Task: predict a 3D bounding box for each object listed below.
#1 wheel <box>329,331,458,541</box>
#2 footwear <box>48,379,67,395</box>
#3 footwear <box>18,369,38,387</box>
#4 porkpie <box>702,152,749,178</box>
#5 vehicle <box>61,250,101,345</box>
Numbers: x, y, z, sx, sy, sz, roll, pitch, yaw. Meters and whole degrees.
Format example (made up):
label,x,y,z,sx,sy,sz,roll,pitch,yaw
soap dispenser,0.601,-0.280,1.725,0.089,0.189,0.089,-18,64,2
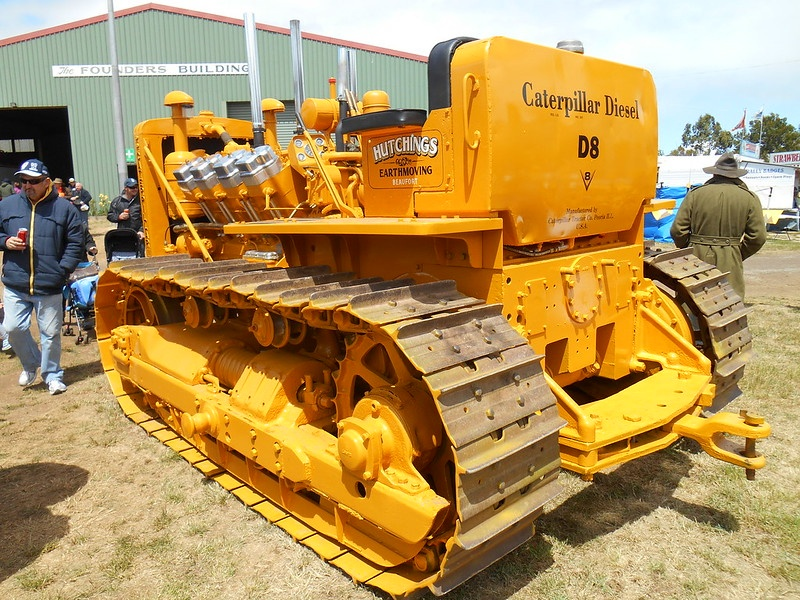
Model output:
label,x,y,z,sx,sy,sz,roll,pitch,yaw
wheel,0.018,0.898,3.682,0.671,1.491,1.019,-8,13,-31
footwear,-4.017,1.018,6.719,0.253,0.128,0.111,-9,4,45
footwear,-4.534,0.956,6.980,0.166,0.164,0.352,-1,-6,-31
porkpie,3.506,-1.425,6.169,0.341,0.170,0.387,-11,22,-7
vehicle,-4.690,-0.062,8.599,0.823,1.262,0.652,3,9,38
